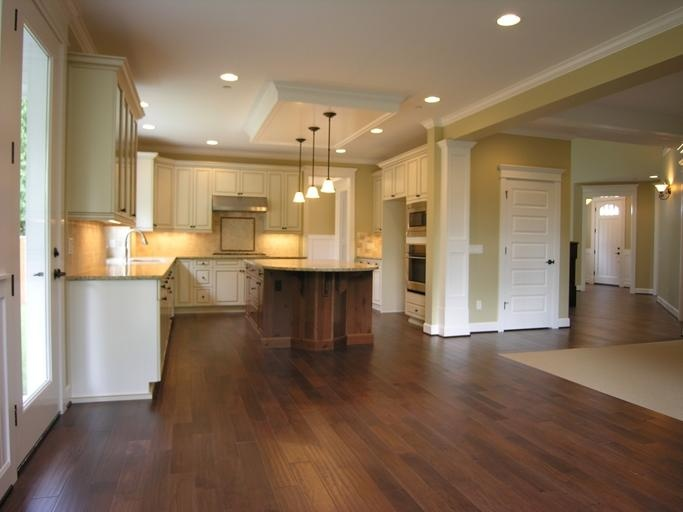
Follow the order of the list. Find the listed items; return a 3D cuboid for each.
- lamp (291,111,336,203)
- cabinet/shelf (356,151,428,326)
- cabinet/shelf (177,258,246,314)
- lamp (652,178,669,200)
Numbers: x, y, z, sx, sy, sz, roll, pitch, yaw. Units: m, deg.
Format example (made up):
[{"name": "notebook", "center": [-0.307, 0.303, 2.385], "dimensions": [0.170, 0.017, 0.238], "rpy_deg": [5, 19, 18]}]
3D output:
[{"name": "lamp", "center": [-0.436, -1.559, 7.514], "dimensions": [0.197, 0.890, 1.083], "rpy_deg": [3, -4, -23]}, {"name": "cabinet/shelf", "center": [0.862, -0.290, 7.908], "dimensions": [0.799, 2.635, 2.752], "rpy_deg": [1, 1, -9]}, {"name": "cabinet/shelf", "center": [-2.140, 0.439, 7.949], "dimensions": [0.885, 0.641, 0.348], "rpy_deg": [1, -2, -20]}, {"name": "lamp", "center": [6.234, -1.288, 9.443], "dimensions": [0.220, 0.353, 0.614], "rpy_deg": [5, 9, 29]}]
